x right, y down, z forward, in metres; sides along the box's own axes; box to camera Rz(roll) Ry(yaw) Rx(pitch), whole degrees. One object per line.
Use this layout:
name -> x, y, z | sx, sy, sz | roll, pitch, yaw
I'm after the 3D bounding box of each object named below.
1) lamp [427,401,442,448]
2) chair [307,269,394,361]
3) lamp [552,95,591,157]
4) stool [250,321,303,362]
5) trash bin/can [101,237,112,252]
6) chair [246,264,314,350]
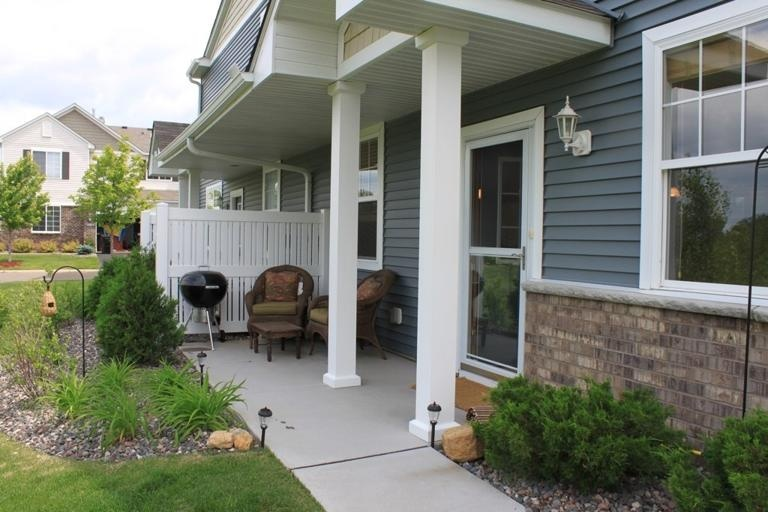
lamp -> 0.464, 1.511, 5.236 | 0.125, 0.422, 0.309 | 0, 6, 5
chair -> -0.488, 0.795, 8.261 | 1.224, 1.530, 1.171 | 4, -3, -27
lamp -> 1.890, -1.310, 5.755 | 0.353, 0.564, 0.280 | 3, 3, -23
stool -> -1.508, 1.180, 8.028 | 0.535, 0.414, 0.850 | -1, 1, -31
trash bin/can -> -14.114, -0.585, 29.008 | 0.360, 0.721, 0.771 | -5, 8, -33
chair -> -1.611, 0.778, 8.745 | 0.977, 1.267, 0.891 | 2, -2, 6
